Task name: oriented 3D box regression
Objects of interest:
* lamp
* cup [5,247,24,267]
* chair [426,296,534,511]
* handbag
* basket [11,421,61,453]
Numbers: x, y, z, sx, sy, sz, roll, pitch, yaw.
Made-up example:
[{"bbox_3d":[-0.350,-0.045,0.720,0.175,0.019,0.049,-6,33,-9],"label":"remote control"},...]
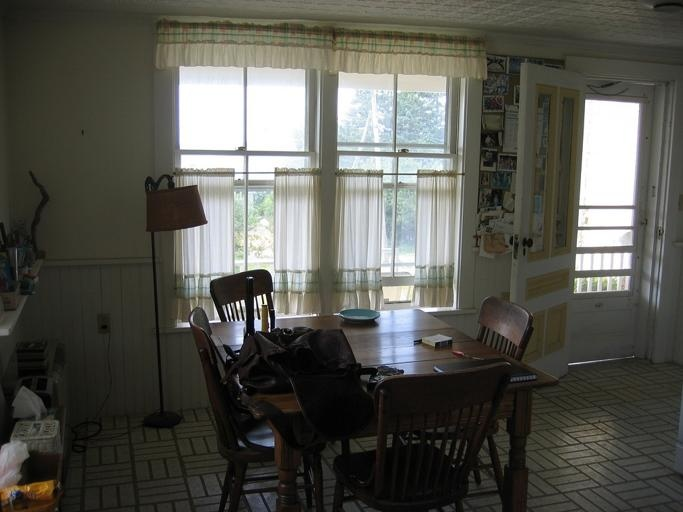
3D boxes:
[{"bbox_3d":[-1.227,0.318,4.107,0.539,1.833,0.535,-1,14,-4],"label":"lamp"},{"bbox_3d":[-1.903,0.001,3.231,0.089,0.112,0.092,-3,-6,0],"label":"cup"},{"bbox_3d":[0.926,0.664,2.959,0.518,0.959,0.588,27,-19,-36],"label":"chair"},{"bbox_3d":[-0.205,0.551,2.717,0.535,0.231,0.539,-7,17,20],"label":"handbag"},{"bbox_3d":[-1.643,0.961,3.000,0.188,0.077,0.195,1,7,-11],"label":"basket"}]
